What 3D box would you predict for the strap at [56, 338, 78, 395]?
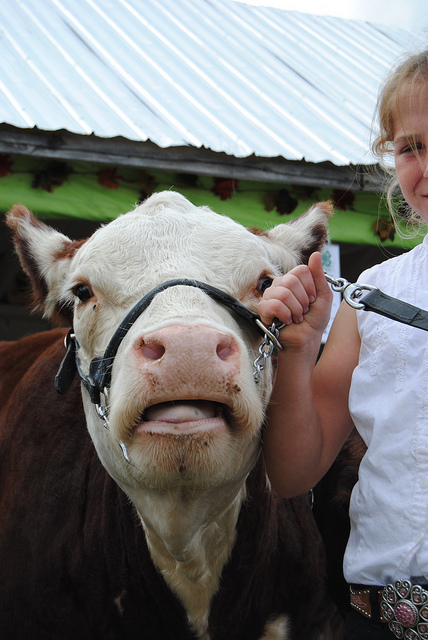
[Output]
[{"bbox_3d":[-0.617,0.207,3.205,0.056,0.188,0.151,8,-13,-22],"label":"strap"}]
